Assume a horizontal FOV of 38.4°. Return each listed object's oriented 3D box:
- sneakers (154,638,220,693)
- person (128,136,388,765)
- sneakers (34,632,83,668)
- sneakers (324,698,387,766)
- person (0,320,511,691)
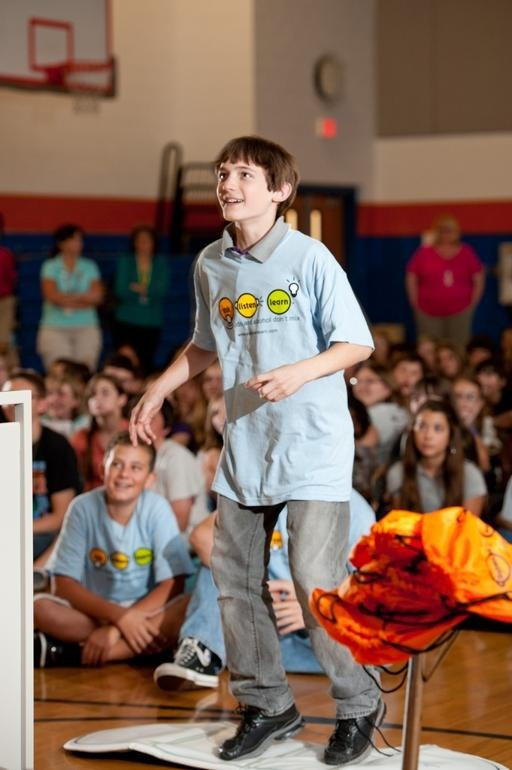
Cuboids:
[{"bbox_3d":[-0.149,0.729,1.975,0.214,0.115,0.071,-9,3,30],"label":"sneakers"},{"bbox_3d":[0.025,0.112,1.447,0.409,1.181,0.302,-2,-10,8],"label":"person"},{"bbox_3d":[-0.602,0.804,2.213,0.146,0.081,0.057,4,-4,-30],"label":"sneakers"},{"bbox_3d":[0.181,0.638,1.392,0.055,0.065,0.140,8,45,39],"label":"sneakers"},{"bbox_3d":[-0.024,0.536,2.665,1.195,1.108,0.705,8,-9,-37],"label":"person"}]
